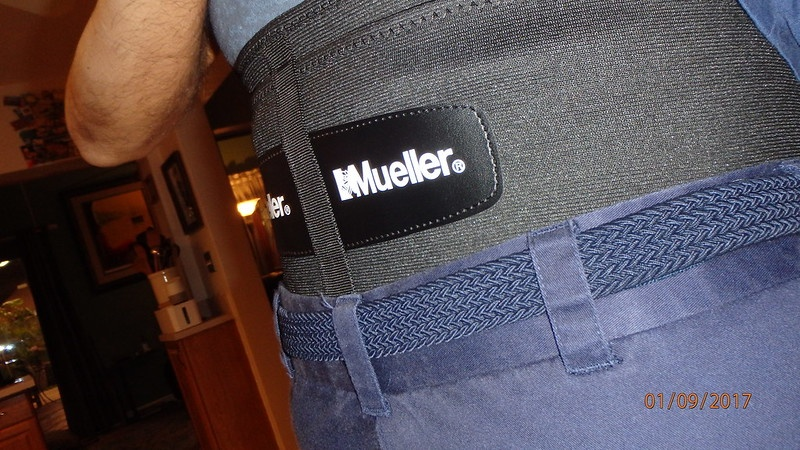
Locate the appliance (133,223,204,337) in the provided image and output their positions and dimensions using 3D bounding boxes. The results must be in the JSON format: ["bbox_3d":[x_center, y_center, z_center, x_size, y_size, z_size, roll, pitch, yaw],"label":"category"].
[{"bbox_3d":[-1.326,0.358,3.215,0.219,0.535,0.208,-15,-1,18],"label":"appliance"}]
